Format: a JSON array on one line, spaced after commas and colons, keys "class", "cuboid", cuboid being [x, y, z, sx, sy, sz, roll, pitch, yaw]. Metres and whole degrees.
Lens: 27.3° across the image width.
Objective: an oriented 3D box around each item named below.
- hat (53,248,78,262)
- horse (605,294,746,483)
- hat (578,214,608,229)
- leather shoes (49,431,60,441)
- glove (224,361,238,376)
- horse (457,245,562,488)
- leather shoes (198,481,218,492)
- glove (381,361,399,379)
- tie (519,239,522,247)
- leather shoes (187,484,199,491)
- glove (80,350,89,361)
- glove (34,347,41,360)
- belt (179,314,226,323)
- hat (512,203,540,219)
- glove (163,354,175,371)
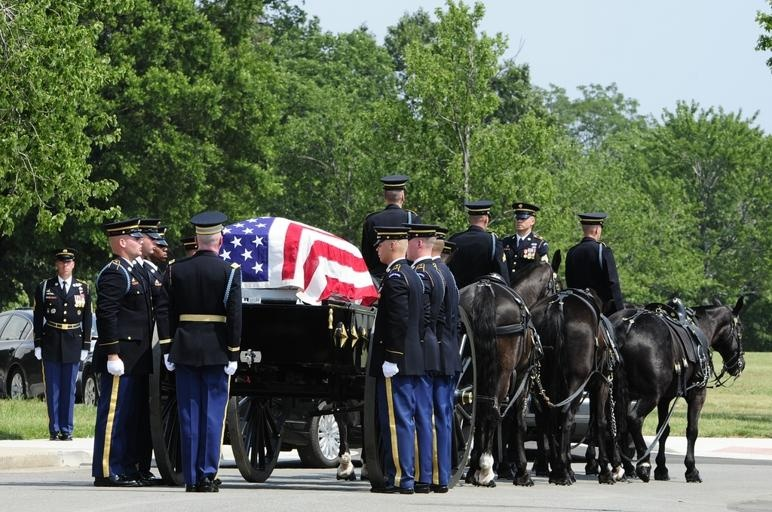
[{"class": "hat", "cuboid": [-7.426, -0.061, 36.854, 0.561, 0.242, 0.576, 0, -1, -12]}, {"class": "horse", "cuboid": [6.126, 2.760, 33.976, 1.696, 3.986, 5.780, -2, -6, 39]}, {"class": "hat", "cuboid": [4.373, -0.790, 33.520, 0.445, 0.145, 0.388, -3, -1, -17]}, {"class": "leather shoes", "cuboid": [-7.362, 3.991, 35.384, 0.102, 0.104, 0.268, 0, -1, 20]}, {"class": "glove", "cuboid": [-2.913, 2.098, 29.999, 0.227, 0.266, 0.096, 11, -7, -5]}, {"class": "horse", "cuboid": [2.545, 1.686, 32.972, 1.532, 3.508, 5.052, 2, 7, 18]}, {"class": "leather shoes", "cuboid": [-3.340, 4.306, 29.893, 0.390, 0.228, 0.137, 0, -10, -11]}, {"class": "glove", "cuboid": [0.070, 2.106, 29.864, 0.333, 0.282, 0.241, 2, -2, 32]}, {"class": "tie", "cuboid": [2.807, -0.316, 33.293, 0.089, 0.105, 0.032, -3, -10, 21]}, {"class": "leather shoes", "cuboid": [-3.639, 4.334, 29.846, 0.219, 0.153, 0.101, -2, -10, 0]}, {"class": "glove", "cuboid": [-6.816, 2.222, 36.054, 0.205, 0.217, 0.084, 5, -5, 12]}, {"class": "glove", "cuboid": [-7.836, 2.164, 35.946, 0.132, 0.228, 0.370, -1, -9, -9]}, {"class": "belt", "cuboid": [-3.454, 1.157, 29.987, 0.833, 0.180, 0.129, -1, -10, -7]}, {"class": "hat", "cuboid": [2.894, -0.969, 33.065, 0.513, 0.390, 0.486, -2, -9, 2]}, {"class": "glove", "cuboid": [-4.045, 1.994, 30.040, 0.266, 0.270, 0.312, -15, -18, -1]}]
